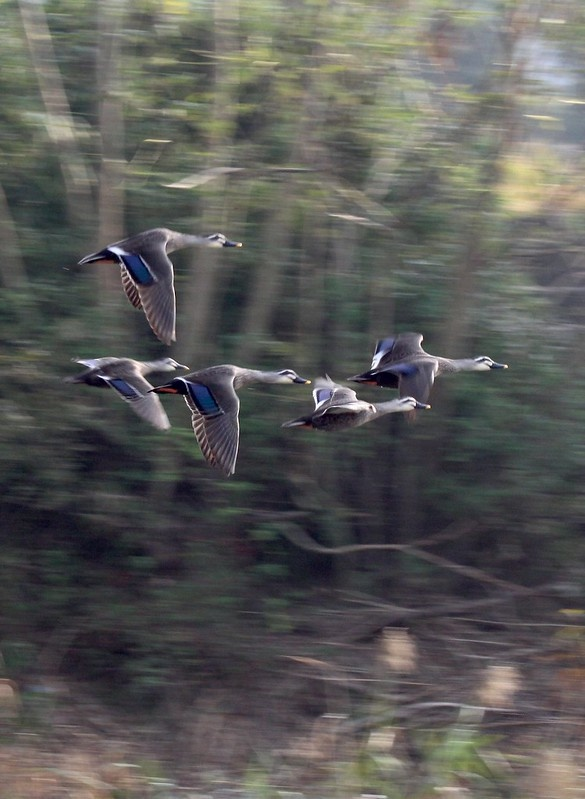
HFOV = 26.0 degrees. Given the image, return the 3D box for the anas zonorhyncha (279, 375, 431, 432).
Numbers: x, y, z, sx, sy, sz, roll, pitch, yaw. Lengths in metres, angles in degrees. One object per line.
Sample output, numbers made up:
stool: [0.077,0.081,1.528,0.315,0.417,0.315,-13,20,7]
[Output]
anas zonorhyncha: [0.403,0.134,9.972,0.884,0.211,0.860,-12,-12,44]
